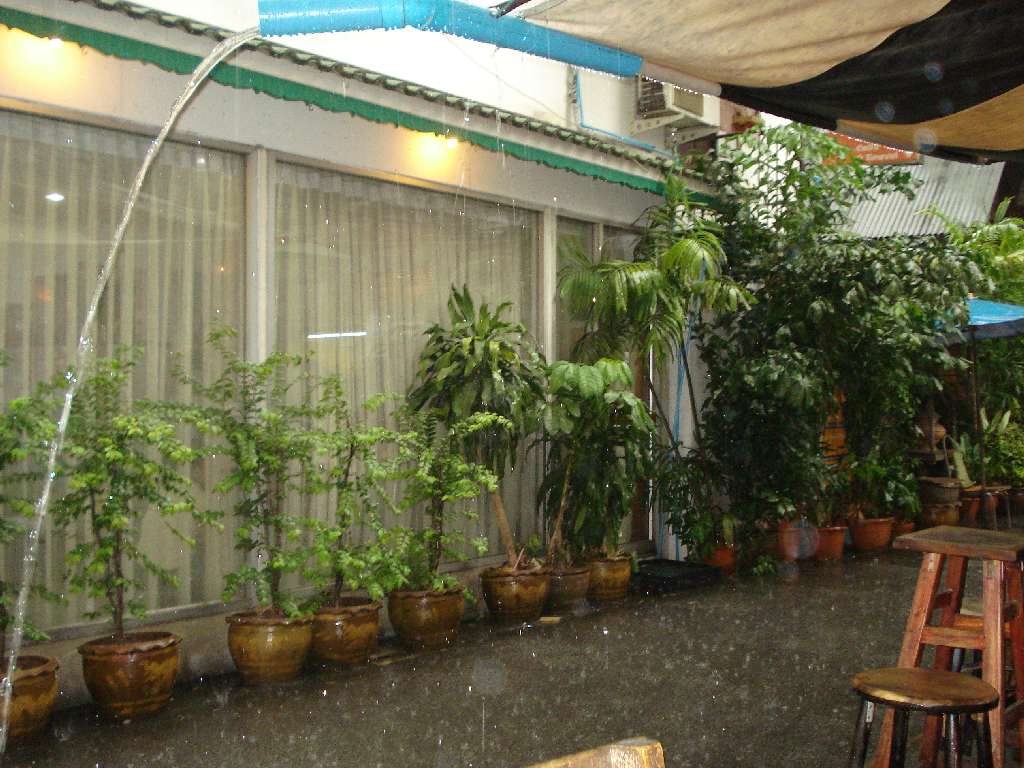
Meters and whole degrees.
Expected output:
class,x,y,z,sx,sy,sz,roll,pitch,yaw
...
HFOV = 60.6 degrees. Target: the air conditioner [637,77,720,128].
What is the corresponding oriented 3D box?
class,x,y,z,sx,sy,sz,roll,pitch,yaw
air conditioner,1.471,-2.444,7.790,0.379,0.385,0.951,2,1,41
